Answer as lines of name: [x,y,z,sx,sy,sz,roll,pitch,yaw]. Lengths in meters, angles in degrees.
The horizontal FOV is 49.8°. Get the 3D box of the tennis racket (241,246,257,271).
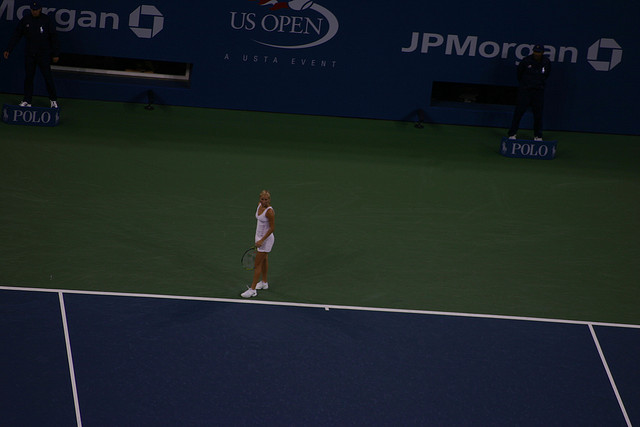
tennis racket: [-1.236,0.820,12.124,0.279,0.441,0.091,-1,-17,31]

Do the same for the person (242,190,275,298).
person: [-1.077,0.521,12.192,0.460,1.904,0.545,4,14,-3]
